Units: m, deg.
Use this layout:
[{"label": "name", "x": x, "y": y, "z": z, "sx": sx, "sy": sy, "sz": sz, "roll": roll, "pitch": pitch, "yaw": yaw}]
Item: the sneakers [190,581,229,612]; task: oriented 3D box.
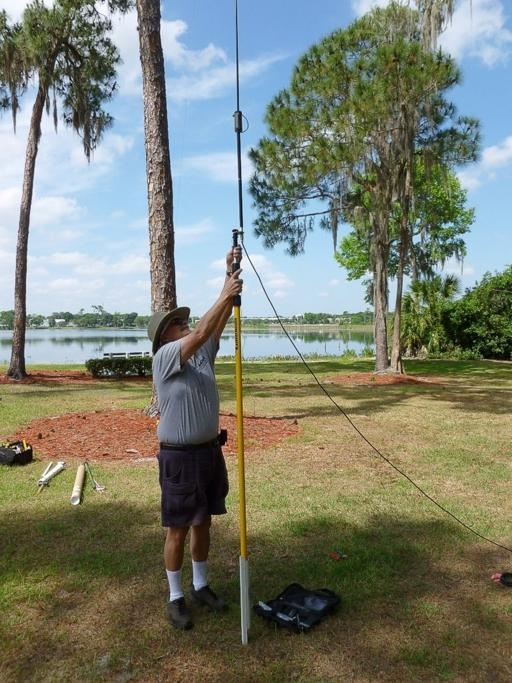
[{"label": "sneakers", "x": -0.304, "y": 1.684, "z": 4.161, "sx": 0.263, "sy": 0.139, "sz": 0.102, "roll": -3, "pitch": -8, "yaw": 33}]

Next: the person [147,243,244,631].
[{"label": "person", "x": -0.382, "y": 0.584, "z": 3.930, "sx": 0.555, "sy": 2.335, "sz": 0.753, "roll": 0, "pitch": 4, "yaw": -10}]
